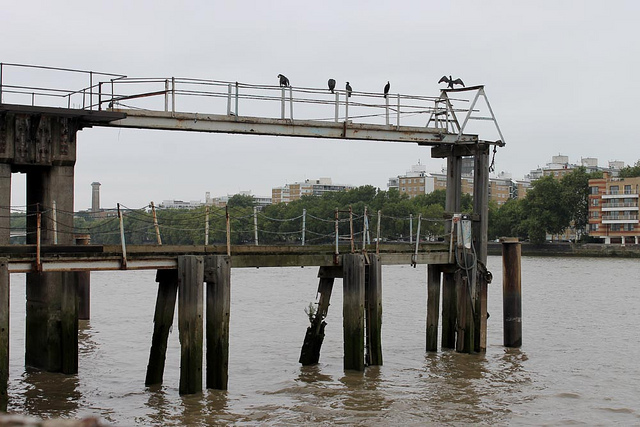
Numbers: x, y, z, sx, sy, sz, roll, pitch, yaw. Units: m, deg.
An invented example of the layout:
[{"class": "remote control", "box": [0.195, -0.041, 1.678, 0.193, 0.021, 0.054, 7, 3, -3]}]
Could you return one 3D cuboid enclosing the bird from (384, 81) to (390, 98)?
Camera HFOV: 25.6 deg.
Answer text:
[{"class": "bird", "box": [2.811, -5.229, 59.943, 0.137, 0.555, 0.300, -1, -1, 16]}]
